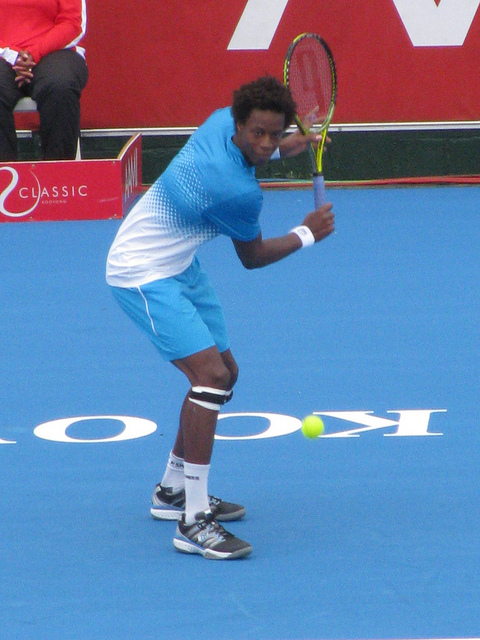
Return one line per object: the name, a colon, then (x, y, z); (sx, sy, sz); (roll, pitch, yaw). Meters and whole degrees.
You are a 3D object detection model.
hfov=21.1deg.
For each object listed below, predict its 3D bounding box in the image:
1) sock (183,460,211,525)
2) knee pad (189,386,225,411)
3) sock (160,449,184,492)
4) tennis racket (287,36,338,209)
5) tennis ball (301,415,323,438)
sock: (-0.155, 0.633, 4.699); (0.095, 0.230, 0.108); (5, 4, 7)
knee pad: (-0.117, 0.285, 4.655); (0.130, 0.087, 0.087); (5, 4, 2)
sock: (-0.258, 0.599, 5.014); (0.106, 0.146, 0.092); (16, -10, 6)
tennis racket: (0.366, -0.806, 6.088); (0.243, 0.101, 1.279); (-1, -39, 7)
tennis ball: (0.283, 0.424, 5.005); (0.074, 0.095, 0.078); (4, -10, 1)
